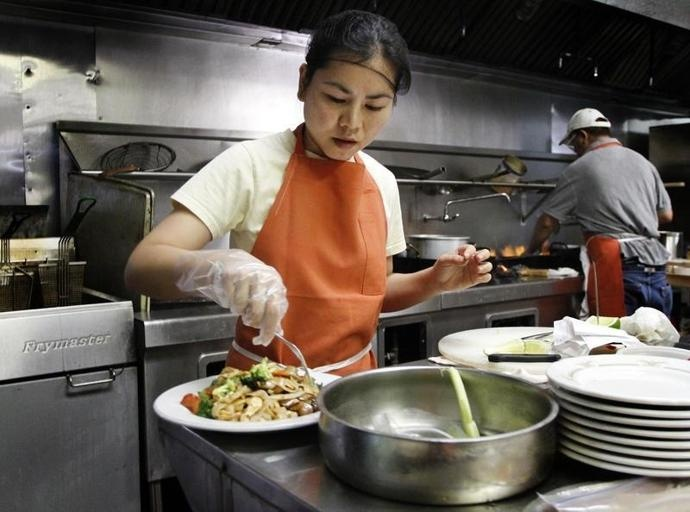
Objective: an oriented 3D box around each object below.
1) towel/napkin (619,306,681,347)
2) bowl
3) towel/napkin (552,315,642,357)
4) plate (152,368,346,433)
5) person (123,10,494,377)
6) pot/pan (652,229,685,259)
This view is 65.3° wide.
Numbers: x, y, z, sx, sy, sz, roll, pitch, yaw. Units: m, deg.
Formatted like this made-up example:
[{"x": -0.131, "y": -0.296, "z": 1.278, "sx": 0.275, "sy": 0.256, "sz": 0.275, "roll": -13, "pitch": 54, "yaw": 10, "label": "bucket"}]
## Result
[{"x": 0.922, "y": 0.213, "z": 1.662, "sx": 0.144, "sy": 0.076, "sz": 0.115, "roll": 13, "pitch": 15, "yaw": -8, "label": "towel/napkin"}, {"x": 0.183, "y": 0.349, "z": 1.091, "sx": 0.443, "sy": 0.173, "sz": 0.338, "roll": -1, "pitch": 10, "yaw": 29, "label": "bowl"}, {"x": 0.695, "y": 0.217, "z": 1.537, "sx": 0.164, "sy": 0.062, "sz": 0.139, "roll": -4, "pitch": 9, "yaw": 7, "label": "towel/napkin"}, {"x": -0.209, "y": 0.344, "z": 1.272, "sx": 0.423, "sy": 0.060, "sz": 0.432, "roll": 1, "pitch": 2, "yaw": -20, "label": "plate"}, {"x": -0.121, "y": -0.135, "z": 1.628, "sx": 1.040, "sy": 1.151, "sz": 0.523, "roll": -10, "pitch": 9, "yaw": -26, "label": "person"}, {"x": 2.464, "y": -0.083, "z": 4.126, "sx": 0.211, "sy": 0.208, "sz": 0.113, "roll": 10, "pitch": -16, "yaw": -38, "label": "pot/pan"}]
